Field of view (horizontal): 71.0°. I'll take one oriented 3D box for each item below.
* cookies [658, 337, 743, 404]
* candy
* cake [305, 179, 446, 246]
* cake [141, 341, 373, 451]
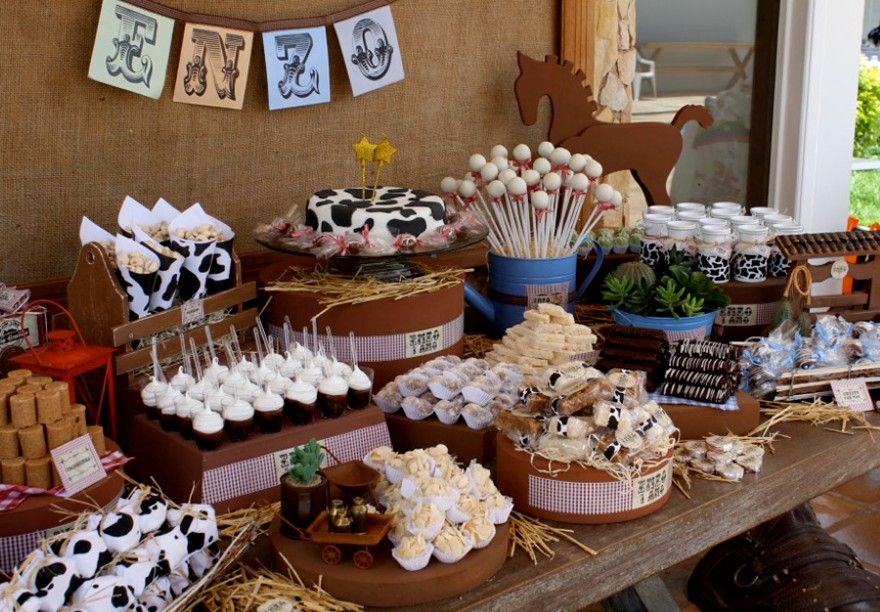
[{"bbox_3d":[0.653,0.173,1.561,0.179,0.136,0.153,4,20,24],"label":"cookies"},{"bbox_3d":[0.300,-0.418,2.044,0.562,0.226,0.303,-12,19,-21],"label":"candy"},{"bbox_3d":[-0.175,-0.261,1.715,0.395,0.119,0.293,-8,18,-12],"label":"cake"},{"bbox_3d":[-0.436,0.126,1.481,0.417,0.217,0.450,7,18,38],"label":"cake"}]
